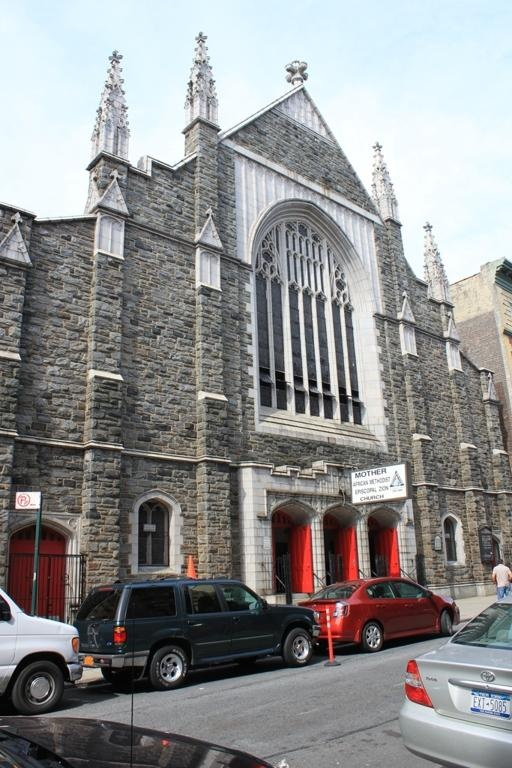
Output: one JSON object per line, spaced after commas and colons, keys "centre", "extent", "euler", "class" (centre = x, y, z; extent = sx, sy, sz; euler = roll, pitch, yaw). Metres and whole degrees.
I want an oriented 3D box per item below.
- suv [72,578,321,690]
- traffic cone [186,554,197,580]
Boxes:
{"centre": [-0.919, 4.004, 10.510], "extent": [4.285, 1.627, 1.497], "euler": [11, -22, -43], "class": "suv"}
{"centre": [-1.648, 4.615, 16.266], "extent": [0.277, 0.552, 0.811], "euler": [-3, -16, -5], "class": "traffic cone"}
